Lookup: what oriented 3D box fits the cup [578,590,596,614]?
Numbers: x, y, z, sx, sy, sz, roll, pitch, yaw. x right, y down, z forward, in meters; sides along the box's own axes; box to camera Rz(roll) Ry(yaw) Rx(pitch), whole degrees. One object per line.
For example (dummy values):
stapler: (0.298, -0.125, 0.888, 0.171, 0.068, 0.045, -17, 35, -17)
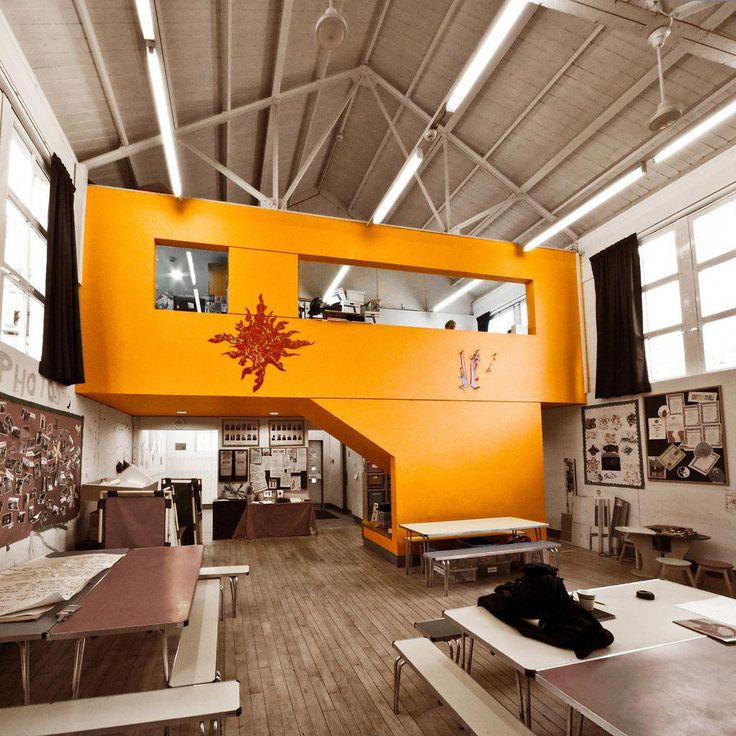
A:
cup: (1.467, 1.565, 3.822, 0.122, 0.108, 0.132, 0, -7, 0)
